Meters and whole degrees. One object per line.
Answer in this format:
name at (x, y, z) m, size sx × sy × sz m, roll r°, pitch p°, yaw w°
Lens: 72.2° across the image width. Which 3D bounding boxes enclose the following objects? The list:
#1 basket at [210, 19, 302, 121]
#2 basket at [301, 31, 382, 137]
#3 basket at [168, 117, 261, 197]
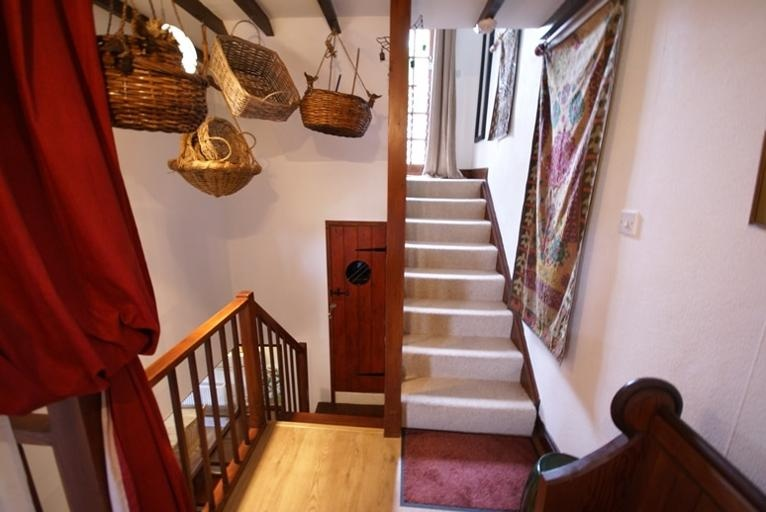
basket at (-0.758, -1.070, 3.161) m, size 0.365 × 0.587 × 0.280 m, roll -3°, pitch -36°, yaw -40°
basket at (-0.286, -1.196, 3.571) m, size 0.524 × 0.705 × 0.314 m, roll 6°, pitch -5°, yaw -13°
basket at (-0.884, -0.561, 3.047) m, size 0.463 × 0.506 × 0.518 m, roll 1°, pitch 16°, yaw -3°
